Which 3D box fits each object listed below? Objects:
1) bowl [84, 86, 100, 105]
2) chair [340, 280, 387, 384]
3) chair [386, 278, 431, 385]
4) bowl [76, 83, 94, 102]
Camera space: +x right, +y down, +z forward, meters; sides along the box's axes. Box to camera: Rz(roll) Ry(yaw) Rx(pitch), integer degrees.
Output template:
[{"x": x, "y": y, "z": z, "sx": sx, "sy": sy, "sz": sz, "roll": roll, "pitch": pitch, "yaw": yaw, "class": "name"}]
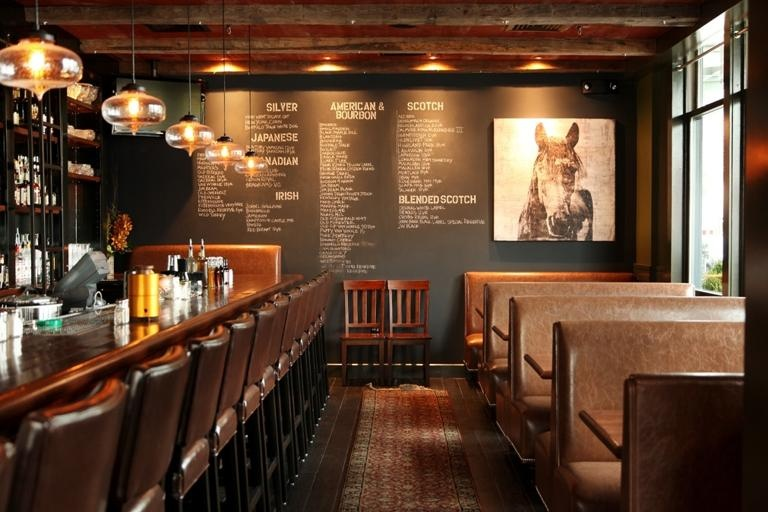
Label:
[{"x": -3.108, "y": -1.696, "z": 6.557, "sx": 0.169, "sy": 0.139, "sz": 0.186, "roll": 4, "pitch": 8, "yaw": 24, "class": "bowl"}, {"x": -0.235, "y": 0.836, "z": 6.857, "sx": 0.483, "sy": 1.089, "sz": 0.631, "roll": 0, "pitch": 5, "yaw": -1, "class": "chair"}, {"x": 0.258, "y": 0.835, "z": 6.838, "sx": 0.511, "sy": 1.088, "sz": 0.609, "roll": 0, "pitch": 5, "yaw": 0, "class": "chair"}, {"x": -3.122, "y": -1.694, "z": 6.489, "sx": 0.182, "sy": 0.191, "sz": 0.187, "roll": 0, "pitch": 3, "yaw": 0, "class": "bowl"}]
